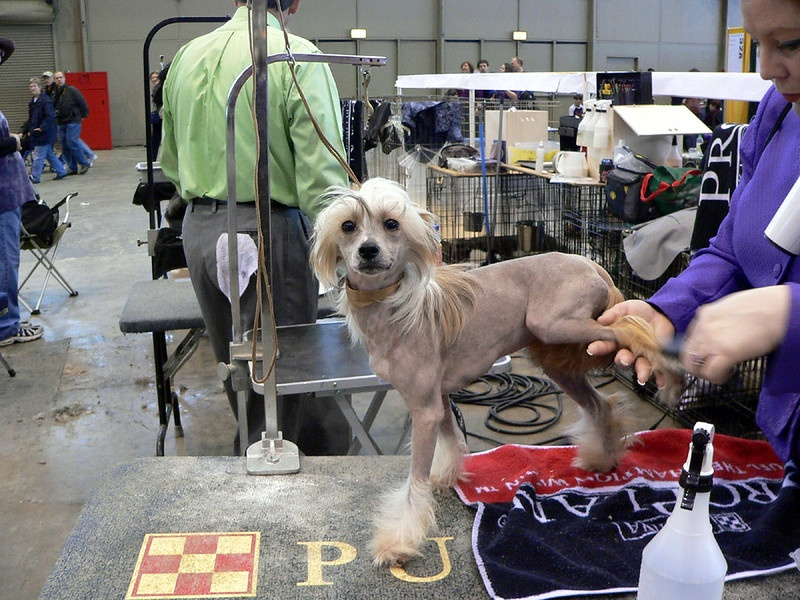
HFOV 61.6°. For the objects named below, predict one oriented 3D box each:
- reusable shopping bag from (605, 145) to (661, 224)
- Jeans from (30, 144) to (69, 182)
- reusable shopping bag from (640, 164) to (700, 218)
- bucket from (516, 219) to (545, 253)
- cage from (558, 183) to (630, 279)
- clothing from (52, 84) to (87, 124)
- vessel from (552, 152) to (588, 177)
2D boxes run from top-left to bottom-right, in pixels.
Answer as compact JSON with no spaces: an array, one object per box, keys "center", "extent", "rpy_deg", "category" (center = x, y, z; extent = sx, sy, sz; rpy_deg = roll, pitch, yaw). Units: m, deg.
[{"center":[1.292,-0.672,3.965],"extent":[0.312,0.378,0.195],"rpy_deg":[14,14,39],"category":"reusable shopping bag"},{"center":[-6.496,-2.521,12.406],"extent":[0.634,0.762,0.380],"rpy_deg":[-12,-21,-20],"category":"Jeans"},{"center":[1.547,-0.637,3.840],"extent":[0.334,0.171,0.369],"rpy_deg":[-2,-2,11],"category":"reusable shopping bag"},{"center":[1.050,-0.510,5.375],"extent":[0.202,0.215,0.234],"rpy_deg":[-2,2,-2],"category":"bucket"},{"center":[1.216,-0.508,4.518],"extent":[0.229,0.469,0.448],"rpy_deg":[7,6,10],"category":"cage"},{"center":[-6.426,-3.789,12.990],"extent":[0.705,0.792,0.446],"rpy_deg":[-6,9,2],"category":"clothing"},{"center":[1.148,-0.914,4.526],"extent":[0.214,0.173,0.159],"rpy_deg":[-3,16,-7],"category":"vessel"}]
